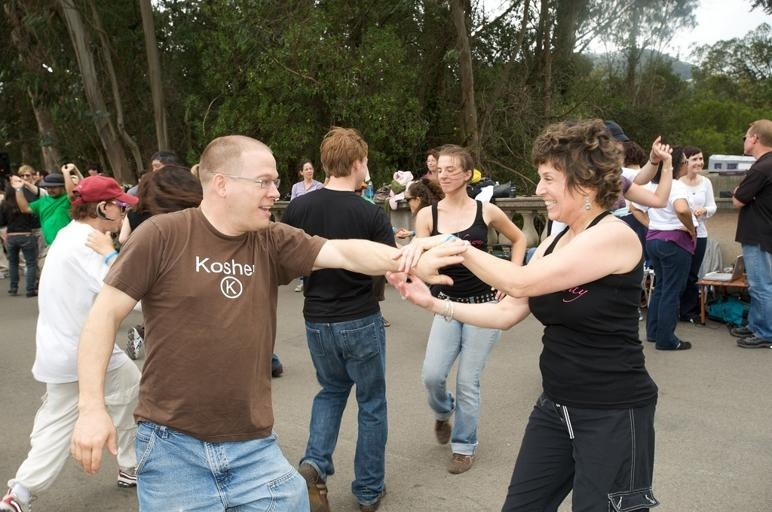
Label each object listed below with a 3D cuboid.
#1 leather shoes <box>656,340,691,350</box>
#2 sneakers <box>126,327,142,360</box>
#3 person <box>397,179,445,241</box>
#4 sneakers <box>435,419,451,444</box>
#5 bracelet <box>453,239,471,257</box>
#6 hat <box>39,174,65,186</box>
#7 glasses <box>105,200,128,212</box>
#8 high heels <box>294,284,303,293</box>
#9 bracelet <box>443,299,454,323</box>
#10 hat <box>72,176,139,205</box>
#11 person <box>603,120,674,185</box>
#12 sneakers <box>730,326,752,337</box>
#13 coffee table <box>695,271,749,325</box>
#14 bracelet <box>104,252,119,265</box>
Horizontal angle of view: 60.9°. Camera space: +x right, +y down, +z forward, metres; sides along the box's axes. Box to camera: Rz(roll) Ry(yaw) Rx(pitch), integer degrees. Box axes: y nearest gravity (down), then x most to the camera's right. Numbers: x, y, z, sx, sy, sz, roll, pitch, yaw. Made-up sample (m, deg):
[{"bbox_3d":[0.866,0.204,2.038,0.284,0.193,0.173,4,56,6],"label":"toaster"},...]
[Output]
[{"bbox_3d":[3.830,1.193,8.698,0.454,0.122,0.168,-1,2,-9],"label":"leather shoes"},{"bbox_3d":[-3.253,1.146,8.502,0.190,0.391,0.161,19,-39,-13],"label":"sneakers"},{"bbox_3d":[0.515,-0.701,9.196,0.437,0.936,0.614,-6,0,25],"label":"person"},{"bbox_3d":[0.550,1.696,6.315,0.108,0.287,0.133,-2,-1,-4],"label":"sneakers"},{"bbox_3d":[0.517,-0.049,4.392,0.115,0.048,0.112,7,39,34],"label":"bracelet"},{"bbox_3d":[-5.498,-1.226,10.884,0.471,0.160,0.475,-2,3,-17],"label":"hat"},{"bbox_3d":[-2.375,-0.444,5.768,0.171,0.047,0.161,7,-1,18],"label":"glasses"},{"bbox_3d":[-1.701,0.642,12.945,0.099,0.108,0.287,-2,-6,14],"label":"high heels"},{"bbox_3d":[0.453,0.401,4.682,0.041,0.106,0.100,4,-7,-14],"label":"bracelet"},{"bbox_3d":[-2.445,-0.557,5.761,0.440,0.199,0.258,7,6,-29],"label":"hat"},{"bbox_3d":[3.036,-1.068,7.598,0.435,0.730,0.207,-3,-31,10],"label":"person"},{"bbox_3d":[4.923,1.058,9.079,0.320,0.128,0.113,4,6,27],"label":"sneakers"},{"bbox_3d":[4.976,0.542,9.737,0.947,0.679,0.741,0,2,30],"label":"coffee table"},{"bbox_3d":[-2.049,0.014,4.907,0.112,0.079,0.113,5,-3,-44],"label":"bracelet"}]
